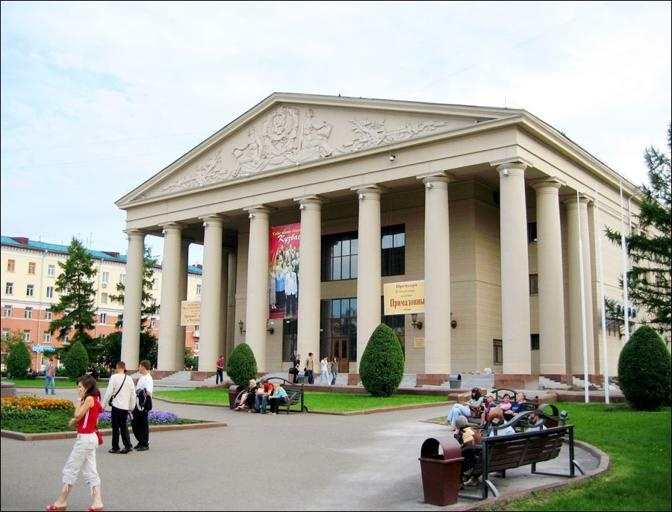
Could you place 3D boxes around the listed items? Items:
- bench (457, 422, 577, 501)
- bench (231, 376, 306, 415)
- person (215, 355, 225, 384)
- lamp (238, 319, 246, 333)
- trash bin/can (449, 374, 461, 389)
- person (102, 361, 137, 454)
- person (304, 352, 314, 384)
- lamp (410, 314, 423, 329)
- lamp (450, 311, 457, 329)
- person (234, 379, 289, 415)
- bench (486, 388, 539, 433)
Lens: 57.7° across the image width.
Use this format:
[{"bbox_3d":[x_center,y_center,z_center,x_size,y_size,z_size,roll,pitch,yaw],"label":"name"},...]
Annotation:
[{"bbox_3d":[3.266,3.563,10.941,2.312,1.042,1.021,5,-30,-36],"label":"bench"},{"bbox_3d":[-1.965,5.060,22.167,0.756,0.914,2.423,15,-3,39],"label":"bench"},{"bbox_3d":[-6.754,6.677,35.398,0.344,1.487,1.900,2,-11,-12],"label":"person"},{"bbox_3d":[-6.898,5.149,44.194,0.292,0.982,0.870,-1,-10,4],"label":"lamp"},{"bbox_3d":[5.346,5.635,27.137,0.722,0.610,0.398,8,-14,-40],"label":"trash bin/can"},{"bbox_3d":[-4.677,3.264,13.139,0.669,1.920,1.020,3,-11,-19],"label":"person"},{"bbox_3d":[-1.432,5.965,32.121,0.469,1.553,0.732,1,-10,-11],"label":"person"},{"bbox_3d":[4.704,3.816,35.176,0.638,0.882,1.439,-2,-11,6],"label":"lamp"},{"bbox_3d":[6.666,3.663,34.343,0.370,0.929,0.201,-2,-10,8],"label":"lamp"},{"bbox_3d":[-2.746,5.083,22.059,2.236,1.157,0.847,-11,-14,43],"label":"person"},{"bbox_3d":[4.765,4.132,16.050,0.973,1.063,2.025,18,-21,-32],"label":"bench"}]
